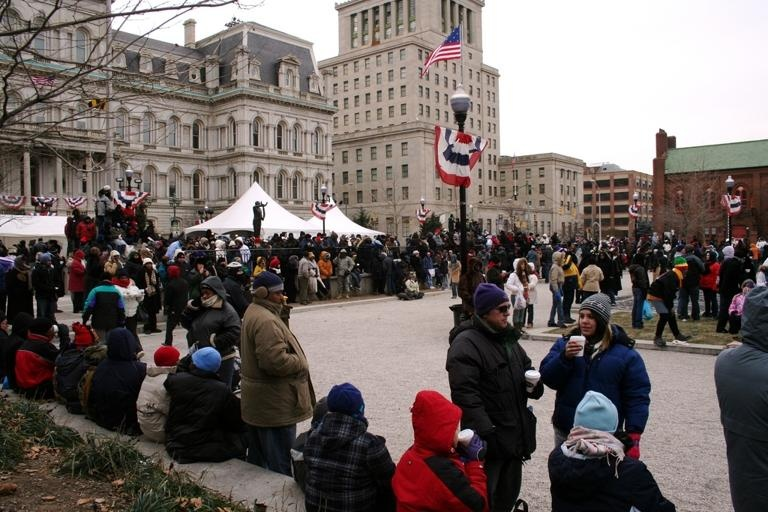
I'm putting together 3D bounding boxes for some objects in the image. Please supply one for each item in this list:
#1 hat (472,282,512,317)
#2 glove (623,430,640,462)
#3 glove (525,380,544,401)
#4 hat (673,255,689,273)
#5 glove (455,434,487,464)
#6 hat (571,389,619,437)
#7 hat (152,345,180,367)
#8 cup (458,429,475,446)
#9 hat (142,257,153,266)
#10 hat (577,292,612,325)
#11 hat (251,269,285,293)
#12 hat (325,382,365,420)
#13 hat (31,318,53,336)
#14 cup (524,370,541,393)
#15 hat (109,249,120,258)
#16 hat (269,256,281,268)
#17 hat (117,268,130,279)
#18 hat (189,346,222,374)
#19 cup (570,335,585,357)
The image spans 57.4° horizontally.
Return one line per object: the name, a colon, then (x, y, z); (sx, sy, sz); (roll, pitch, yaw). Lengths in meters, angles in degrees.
hat: (1.338, 0.526, 8.760); (0.453, 0.411, 0.392); (4, 15, 20)
glove: (2.932, 2.207, 8.236); (0.154, 0.261, 0.723); (-1, 0, 20)
glove: (1.825, 1.648, 8.738); (0.226, 0.259, 0.273); (-9, -22, 32)
hat: (8.112, 0.194, 19.007); (0.347, 0.397, 0.479); (-1, -5, -17)
glove: (1.031, 2.176, 7.990); (0.341, 0.338, 0.258); (14, -19, -17)
hat: (2.433, 1.752, 7.935); (0.533, 0.374, 0.373); (-3, 3, -45)
hat: (-3.352, 1.498, 10.758); (0.320, 0.293, 0.319); (-19, 17, -25)
cup: (0.937, 2.021, 7.939); (0.166, 0.110, 0.165); (-15, 13, 3)
hat: (-6.030, 0.119, 17.905); (0.281, 0.147, 0.395); (2, 0, -19)
hat: (2.715, 0.646, 9.046); (0.406, 0.364, 0.319); (29, -10, -6)
hat: (-1.664, 0.357, 10.097); (0.384, 0.305, 0.280); (5, -3, 4)
hat: (-0.451, 1.720, 8.380); (0.441, 0.431, 0.196); (0, 0, -2)
hat: (-6.053, 1.230, 12.425); (0.287, 0.331, 0.344); (3, 2, -12)
cup: (1.805, 1.512, 8.629); (0.238, 0.225, 0.237); (1, 11, 0)
hat: (-7.306, -0.080, 18.979); (0.229, 0.198, 0.387); (0, -6, -44)
hat: (-3.530, 0.171, 22.612); (0.366, 0.344, 0.472); (14, -11, -42)
hat: (-6.364, 0.409, 17.115); (0.231, 0.248, 0.313); (1, -4, -23)
hat: (-2.528, 1.507, 10.133); (0.346, 0.311, 0.422); (-15, -29, 28)
cup: (2.431, 1.098, 8.691); (0.233, 0.250, 0.229); (0, 0, 0)
